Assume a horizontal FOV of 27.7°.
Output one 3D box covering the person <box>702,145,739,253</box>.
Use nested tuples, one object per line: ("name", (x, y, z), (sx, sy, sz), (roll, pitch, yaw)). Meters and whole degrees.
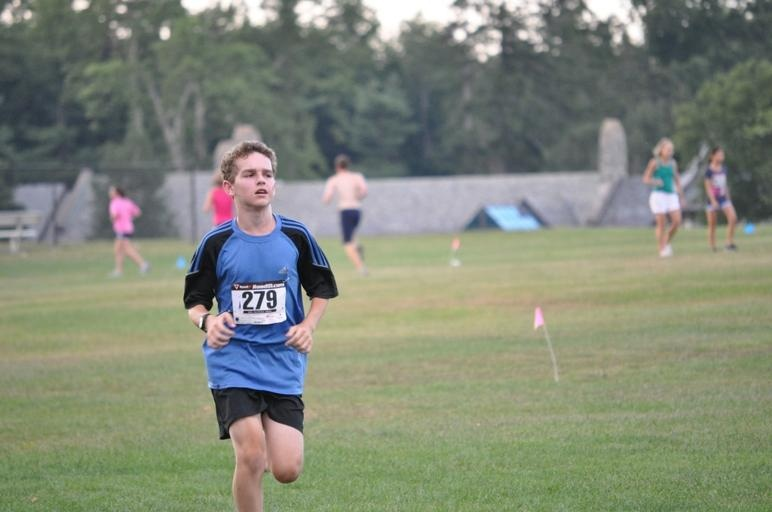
("person", (2.720, -0.456, 12.688), (0.248, 0.817, 0.090), (-2, 2, 10))

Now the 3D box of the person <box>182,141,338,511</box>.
("person", (-0.944, 0.515, 11.758), (1.081, 2.729, 0.428), (-3, 2, -8))

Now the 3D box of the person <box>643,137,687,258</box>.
("person", (2.273, -0.470, 12.767), (0.295, 0.944, 0.131), (-2, 2, 11))
